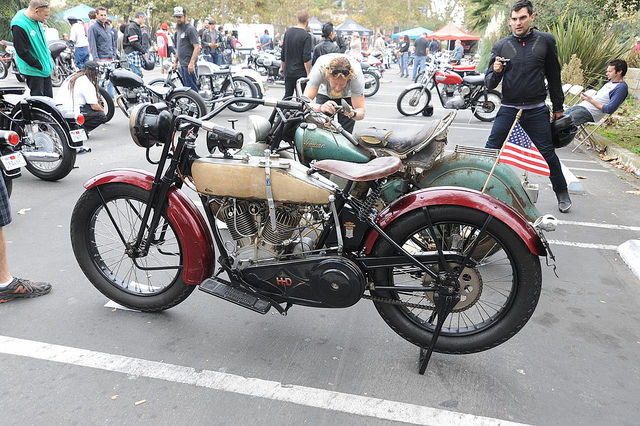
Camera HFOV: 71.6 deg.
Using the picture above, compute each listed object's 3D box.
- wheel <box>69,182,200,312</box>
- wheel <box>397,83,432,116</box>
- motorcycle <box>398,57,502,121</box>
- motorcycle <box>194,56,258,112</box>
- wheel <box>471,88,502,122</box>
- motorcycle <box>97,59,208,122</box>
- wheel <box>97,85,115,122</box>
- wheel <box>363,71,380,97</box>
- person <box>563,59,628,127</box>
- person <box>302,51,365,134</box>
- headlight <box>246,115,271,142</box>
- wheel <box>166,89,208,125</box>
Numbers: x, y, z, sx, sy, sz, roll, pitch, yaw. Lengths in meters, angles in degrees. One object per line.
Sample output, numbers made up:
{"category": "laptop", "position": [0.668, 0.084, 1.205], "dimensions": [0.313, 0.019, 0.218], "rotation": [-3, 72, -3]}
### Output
{"category": "wheel", "position": [-1.691, 0.328, 4.060], "dimensions": [1.285, 1.340, 0.243], "rotation": [13, 25, 3]}
{"category": "wheel", "position": [2.773, -3.284, 13.060], "dimensions": [0.976, 1.064, 0.316], "rotation": [9, 46, -12]}
{"category": "motorcycle", "position": [3.837, -3.534, 12.746], "dimensions": [2.965, 1.718, 1.547], "rotation": [6, 22, 12]}
{"category": "motorcycle", "position": [-2.804, -3.524, 12.456], "dimensions": [0.942, 1.161, 1.858], "rotation": [-19, 26, -34]}
{"category": "wheel", "position": [4.787, -3.063, 12.541], "dimensions": [0.967, 0.844, 0.559], "rotation": [-23, 42, -35]}
{"category": "motorcycle", "position": [-4.365, -2.786, 10.732], "dimensions": [3.060, 1.534, 1.067], "rotation": [-7, 2, -37]}
{"category": "wheel", "position": [-4.857, -2.445, 10.119], "dimensions": [0.286, 0.912, 0.593], "rotation": [-11, 36, -23]}
{"category": "wheel", "position": [1.923, -4.843, 16.688], "dimensions": [0.563, 0.758, 0.719], "rotation": [6, 33, 1]}
{"category": "person", "position": [5.437, -2.361, 9.049], "dimensions": [1.463, 1.141, 0.685], "rotation": [-9, 29, 19]}
{"category": "person", "position": [0.209, -1.401, 5.985], "dimensions": [0.689, 1.584, 1.088], "rotation": [3, 49, 2]}
{"category": "headlight", "position": [-0.533, -0.721, 3.916], "dimensions": [0.188, 0.253, 0.254], "rotation": [-11, 27, -24]}
{"category": "wheel", "position": [-3.073, -2.555, 10.361], "dimensions": [0.960, 0.558, 0.533], "rotation": [16, 35, 15]}
